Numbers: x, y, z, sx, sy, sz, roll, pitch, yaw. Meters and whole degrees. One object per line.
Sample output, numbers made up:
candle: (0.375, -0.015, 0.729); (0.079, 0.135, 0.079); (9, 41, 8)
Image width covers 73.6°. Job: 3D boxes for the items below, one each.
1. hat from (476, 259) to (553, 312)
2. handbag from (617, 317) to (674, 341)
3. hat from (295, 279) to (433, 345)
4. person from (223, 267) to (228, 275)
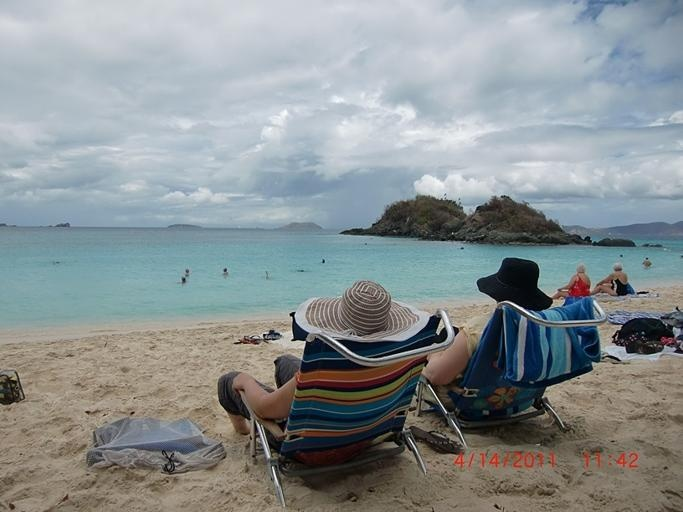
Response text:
hat: (1.710, 0.281, 4.574); (0.701, 0.288, 0.600); (8, 21, -3)
handbag: (4.994, 1.200, 7.417); (0.631, 0.164, 0.414); (-3, -3, -1)
hat: (0.137, 0.406, 3.661); (1.099, 0.447, 0.701); (-6, 13, -20)
person: (-7.391, 0.964, 28.896); (0.497, 0.428, 1.297); (3, -1, -19)
